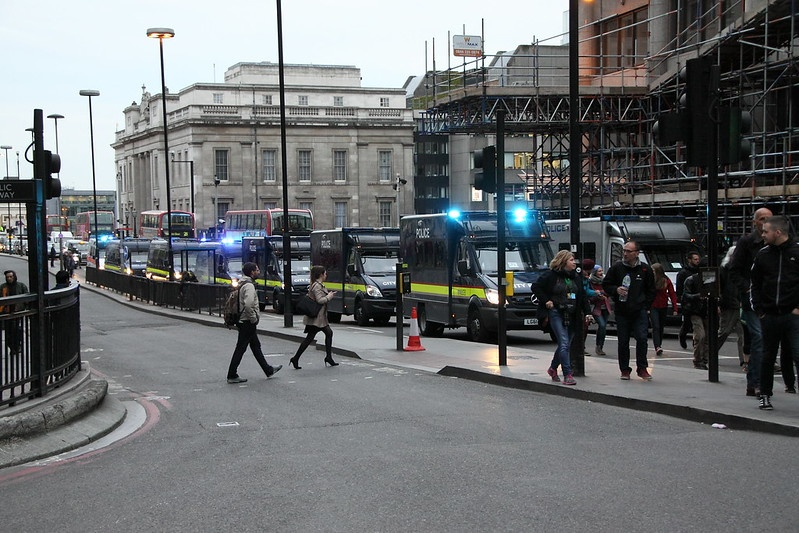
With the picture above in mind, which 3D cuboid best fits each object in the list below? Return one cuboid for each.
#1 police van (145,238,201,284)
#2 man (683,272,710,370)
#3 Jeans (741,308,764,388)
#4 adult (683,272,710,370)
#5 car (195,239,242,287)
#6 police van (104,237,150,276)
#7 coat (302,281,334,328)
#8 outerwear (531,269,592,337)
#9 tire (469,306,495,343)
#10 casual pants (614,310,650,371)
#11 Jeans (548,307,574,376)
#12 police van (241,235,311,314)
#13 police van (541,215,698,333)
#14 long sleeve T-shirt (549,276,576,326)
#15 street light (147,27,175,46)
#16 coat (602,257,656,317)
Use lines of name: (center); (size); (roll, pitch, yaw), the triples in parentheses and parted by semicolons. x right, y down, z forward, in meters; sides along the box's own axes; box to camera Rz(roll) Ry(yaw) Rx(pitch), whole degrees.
police van: (-12.654, -0.042, 49.208); (2.104, 2.621, 4.634); (5, -3, -10)
man: (5.921, 1.008, 17.264); (0.417, 1.939, 1.583); (0, 6, 15)
Jeans: (5.697, 1.273, 13.780); (0.361, 1.487, 0.319); (12, -15, -33)
adult: (5.918, 1.010, 17.250); (0.417, 1.939, 1.531); (0, 6, 15)
car: (-8.147, -0.308, 40.650); (2.103, 2.414, 4.078); (0, -2, -25)
police van: (-17.455, -0.636, 56.122); (2.269, 2.164, 4.100); (0, 0, -24)
coat: (-1.646, 0.820, 18.731); (0.769, 1.261, 0.973); (-2, 6, -13)
outerwear: (2.878, 0.707, 15.280); (1.004, 1.588, 0.827); (0, -8, -8)
tire: (2.164, 1.446, 22.312); (0.346, 0.900, 0.837); (2, 6, -11)
casual pants: (4.083, 1.303, 15.283); (0.460, 1.214, 0.528); (-5, 7, -29)
Jeans: (2.856, 1.366, 15.231); (0.394, 1.321, 0.682); (-1, 6, 11)
police van: (-4.988, 0.374, 37.482); (2.417, 3.285, 5.479); (2, -2, -27)
police van: (7.142, -0.006, 27.118); (2.723, 3.385, 5.940); (2, 1, -14)
long sleeve T-shirt: (2.867, 0.589, 15.153); (0.429, 0.851, 0.306); (2, -1, -16)
street light: (-9.475, -9.267, 34.305); (0.903, 0.491, 2.002); (-6, 7, -32)
coat: (4.101, 0.389, 15.432); (1.144, 1.309, 0.726); (0, -9, 8)
